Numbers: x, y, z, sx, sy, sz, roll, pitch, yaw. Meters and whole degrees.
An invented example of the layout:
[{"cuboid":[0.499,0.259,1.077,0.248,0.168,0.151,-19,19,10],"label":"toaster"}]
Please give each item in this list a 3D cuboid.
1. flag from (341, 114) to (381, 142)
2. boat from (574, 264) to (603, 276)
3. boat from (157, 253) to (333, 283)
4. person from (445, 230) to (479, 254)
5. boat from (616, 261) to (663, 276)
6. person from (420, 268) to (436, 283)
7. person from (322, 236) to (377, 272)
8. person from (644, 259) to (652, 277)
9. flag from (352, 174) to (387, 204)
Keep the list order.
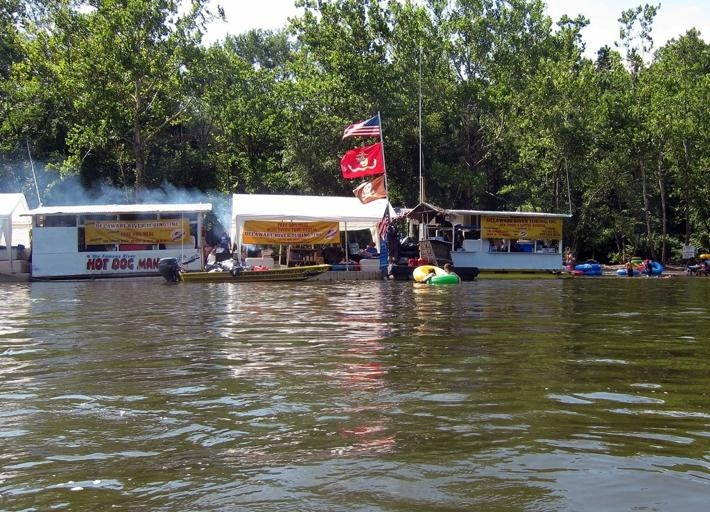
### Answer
[{"cuboid":[0.400,-5.505,33.841,1.405,0.779,1.556,0,4,7],"label":"flag"},{"cuboid":[11.758,0.802,40.486,1.278,0.584,3.804,0,4,18],"label":"boat"},{"cuboid":[-4.356,0.541,31.282,5.342,0.919,1.049,-2,0,-3],"label":"boat"},{"cuboid":[4.577,-0.572,35.263,1.046,0.649,1.076,7,19,23],"label":"person"},{"cuboid":[14.839,0.790,41.363,1.275,0.413,1.485,-4,-9,25],"label":"boat"},{"cuboid":[2.807,0.811,30.517,0.507,0.522,1.054,-1,4,5],"label":"person"},{"cuboid":[-0.334,-0.145,34.051,1.695,0.999,1.578,0,-4,-11],"label":"person"},{"cuboid":[14.877,0.670,40.777,0.406,0.725,1.106,1,5,21],"label":"person"},{"cuboid":[0.743,-2.697,32.597,1.541,1.127,0.695,2,6,36],"label":"flag"}]
